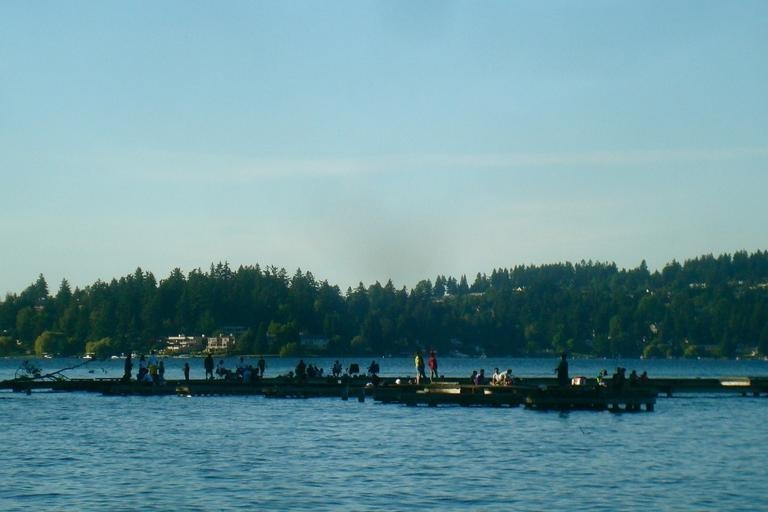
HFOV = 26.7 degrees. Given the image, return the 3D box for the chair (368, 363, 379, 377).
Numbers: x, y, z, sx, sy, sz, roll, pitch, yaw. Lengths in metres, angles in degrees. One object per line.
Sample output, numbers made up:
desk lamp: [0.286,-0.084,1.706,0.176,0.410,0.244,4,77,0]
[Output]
chair: [-1.190,15.937,223.119,1.624,1.953,1.857,1,3,-4]

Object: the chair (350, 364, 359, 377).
chair: [-4.126,16.153,225.567,1.213,1.800,2.352,-1,14,-3]
